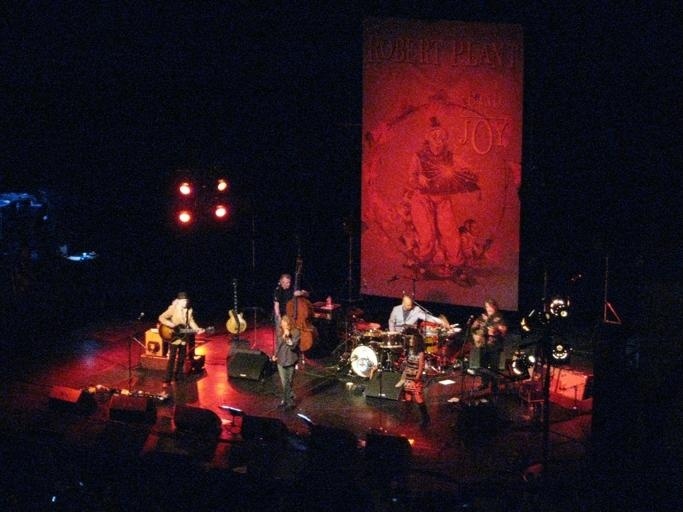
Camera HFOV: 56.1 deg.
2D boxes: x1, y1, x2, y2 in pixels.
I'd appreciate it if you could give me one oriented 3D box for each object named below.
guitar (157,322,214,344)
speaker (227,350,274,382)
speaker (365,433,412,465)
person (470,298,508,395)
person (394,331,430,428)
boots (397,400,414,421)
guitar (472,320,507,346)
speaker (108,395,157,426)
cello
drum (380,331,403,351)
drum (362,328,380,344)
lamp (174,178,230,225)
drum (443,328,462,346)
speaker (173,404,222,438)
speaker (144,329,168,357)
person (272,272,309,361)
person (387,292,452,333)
[{"bbox_3d":[-3.110,1.485,12.581,1.180,0.500,0.179,4,20,7],"label":"guitar"},{"bbox_3d":[-1.766,2.168,12.814,0.651,0.446,0.663,1,3,16],"label":"speaker"},{"bbox_3d":[0.706,2.997,9.962,0.576,0.396,0.415,0,-6,2],"label":"speaker"},{"bbox_3d":[2.757,1.580,11.738,0.479,1.864,0.547,-1,7,-33],"label":"person"},{"bbox_3d":[1.268,2.118,11.535,0.529,1.526,0.593,4,6,6],"label":"person"},{"bbox_3d":[1.137,2.734,11.322,0.206,0.370,0.281,4,-17,1],"label":"boots"},{"bbox_3d":[2.667,1.412,11.691,0.407,0.563,0.205,5,-25,6],"label":"guitar"},{"bbox_3d":[-3.534,2.604,10.855,0.766,0.450,0.436,7,34,7],"label":"speaker"},{"bbox_3d":[-0.796,0.875,12.841,0.476,2.013,0.522,2,6,4],"label":"cello"},{"bbox_3d":[0.951,1.606,12.237,0.368,0.229,0.372,0,2,0],"label":"drum"},{"bbox_3d":[0.590,1.586,12.541,0.311,0.294,0.308,-3,11,-23],"label":"drum"},{"bbox_3d":[-3.487,-1.315,16.025,1.399,1.429,2.156,-3,14,-11],"label":"lamp"},{"bbox_3d":[2.227,1.622,12.998,0.331,0.164,0.530,1,10,16],"label":"drum"},{"bbox_3d":[-2.356,2.722,10.514,0.662,0.459,0.520,8,16,18],"label":"speaker"},{"bbox_3d":[-3.833,1.759,13.318,0.513,0.714,0.514,0,6,-5],"label":"speaker"},{"bbox_3d":[-1.110,0.889,12.920,0.517,1.844,0.558,-1,7,-28],"label":"person"},{"bbox_3d":[1.404,1.179,12.689,0.963,0.829,0.725,-1,6,10],"label":"person"}]
